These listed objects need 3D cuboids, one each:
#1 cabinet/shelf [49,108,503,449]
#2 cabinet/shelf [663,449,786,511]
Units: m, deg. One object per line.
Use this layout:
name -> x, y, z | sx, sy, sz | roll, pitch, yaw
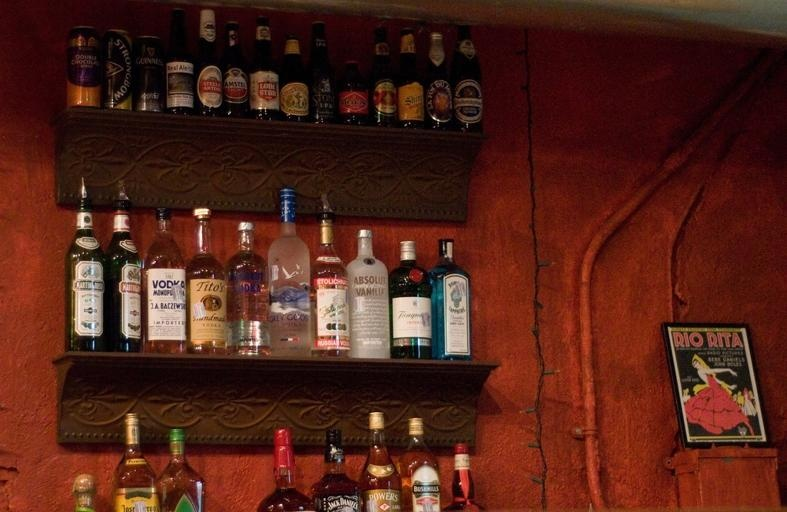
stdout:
cabinet/shelf -> -0.387, 0.074, 2.608 | 1.181, 0.728, 0.324 | 1, -7, -16
cabinet/shelf -> 0.976, 0.654, 2.734 | 0.316, 0.179, 0.210 | -7, -19, 12
